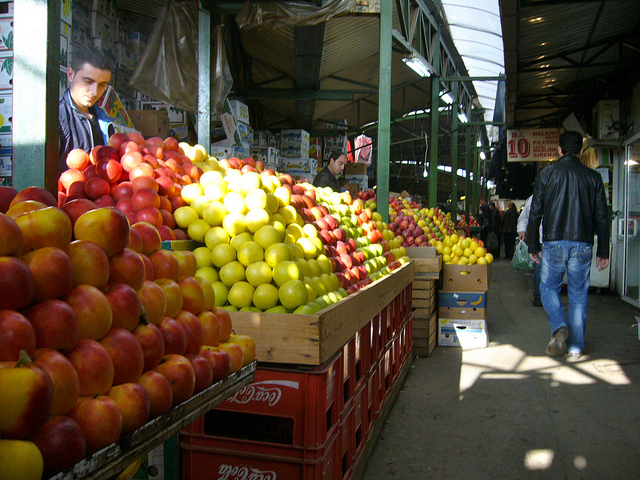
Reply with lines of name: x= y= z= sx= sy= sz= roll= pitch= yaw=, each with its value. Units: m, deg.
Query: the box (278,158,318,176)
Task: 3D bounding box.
box: x=-0.379 y=-1.313 z=10.050 sx=0.404 sy=0.318 sz=0.641 roll=1 pitch=6 yaw=9

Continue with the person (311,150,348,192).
person: x=0.112 y=-0.752 z=7.067 sx=0.334 sy=0.677 sz=0.743 roll=4 pitch=-11 yaw=6

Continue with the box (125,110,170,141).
box: x=-2.003 y=-1.356 z=6.541 sx=0.417 sy=0.266 sz=0.343 roll=15 pitch=4 yaw=-5

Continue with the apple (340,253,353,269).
apple: x=0.195 y=0.160 z=4.184 sx=0.065 sy=0.087 sz=0.099 roll=8 pitch=-12 yaw=17

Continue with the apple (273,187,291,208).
apple: x=-0.267 y=-0.298 z=3.946 sx=0.104 sy=0.133 sz=0.064 roll=-13 pitch=2 yaw=30

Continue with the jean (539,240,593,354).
jean: x=2.515 y=0.586 z=5.808 sx=0.482 sy=1.178 sz=0.334 roll=0 pitch=3 yaw=19

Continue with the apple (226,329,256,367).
apple: x=-0.350 y=0.485 z=2.638 sx=0.105 sy=0.154 sz=0.114 roll=-16 pitch=4 yaw=12

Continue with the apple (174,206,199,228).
apple: x=-0.812 y=-0.139 z=3.455 sx=0.124 sy=0.139 sz=0.120 roll=-1 pitch=1 yaw=32

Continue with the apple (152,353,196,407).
apple: x=-0.543 y=0.541 z=2.248 sx=0.163 sy=0.173 sz=0.157 roll=-25 pitch=22 yaw=-27

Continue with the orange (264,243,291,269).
orange: x=-0.248 y=0.084 z=3.252 sx=0.119 sy=0.139 sz=0.147 roll=28 pitch=30 yaw=24

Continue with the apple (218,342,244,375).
apple: x=-0.399 y=0.523 z=2.493 sx=0.091 sy=0.114 sz=0.102 roll=-2 pitch=12 yaw=-9

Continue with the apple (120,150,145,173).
apple: x=-1.137 y=-0.465 z=3.473 sx=0.137 sy=0.128 sz=0.116 roll=-39 pitch=24 yaw=-27

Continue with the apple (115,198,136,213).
apple: x=-1.109 y=-0.197 z=3.233 sx=0.072 sy=0.092 sz=0.100 roll=-11 pitch=-25 yaw=-2

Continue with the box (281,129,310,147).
box: x=-0.459 y=-1.782 z=9.965 sx=0.297 sy=0.167 sz=0.340 roll=0 pitch=1 yaw=7

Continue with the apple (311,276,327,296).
apple: x=-0.001 y=0.283 z=3.485 sx=0.086 sy=0.130 sz=0.095 roll=-13 pitch=-8 yaw=-13

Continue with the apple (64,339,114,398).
apple: x=-0.790 y=0.464 z=1.977 sx=0.121 sy=0.175 sz=0.132 roll=-10 pitch=10 yaw=43

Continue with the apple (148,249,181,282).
apple: x=-0.692 y=0.116 z=2.519 sx=0.132 sy=0.144 sz=0.121 roll=-4 pitch=4 yaw=-27

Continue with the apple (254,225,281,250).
apple: x=-0.308 y=-0.014 z=3.327 sx=0.115 sy=0.152 sz=0.133 roll=-18 pitch=-27 yaw=33

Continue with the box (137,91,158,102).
box: x=-2.224 y=-1.794 z=7.174 sx=0.129 sy=0.103 sz=0.147 roll=-2 pitch=10 yaw=-7

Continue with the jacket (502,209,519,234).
jacket: x=5.344 y=-0.514 z=15.942 sx=0.370 sy=0.848 sz=0.559 roll=0 pitch=9 yaw=0

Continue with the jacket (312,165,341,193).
jacket: x=0.060 y=-0.711 z=6.870 sx=0.261 sy=0.479 sz=0.545 roll=0 pitch=0 yaw=22

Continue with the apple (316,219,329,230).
apple: x=0.022 y=-0.114 z=4.236 sx=0.113 sy=0.077 sz=0.100 roll=-3 pitch=4 yaw=-16

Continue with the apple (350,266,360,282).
apple: x=0.270 y=0.253 z=4.178 sx=0.072 sy=0.114 sz=0.081 roll=-4 pitch=2 yaw=4

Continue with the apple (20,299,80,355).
apple: x=-0.884 y=0.291 z=1.935 sx=0.163 sy=0.176 sz=0.172 roll=-40 pitch=-28 yaw=1

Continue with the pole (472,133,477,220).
pole: x=6.401 y=-2.711 z=23.528 sx=0.150 sy=3.597 sz=0.152 roll=-17 pitch=21 yaw=-37

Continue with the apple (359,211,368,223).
apple: x=0.411 y=-0.217 z=5.386 sx=0.041 sy=0.095 sz=0.075 roll=-10 pitch=-14 yaw=-7

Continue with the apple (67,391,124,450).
apple: x=-0.734 y=0.600 z=1.882 sx=0.115 sy=0.158 sz=0.186 roll=3 pitch=10 yaw=6

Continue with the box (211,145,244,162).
box: x=-1.187 y=-1.138 z=7.288 sx=0.421 sy=0.194 sz=0.481 roll=-3 pitch=5 yaw=-11

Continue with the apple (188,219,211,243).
apple: x=-0.733 y=-0.051 z=3.433 sx=0.128 sy=0.137 sz=0.068 roll=-1 pitch=3 yaw=14

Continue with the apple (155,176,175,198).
apple: x=-0.953 y=-0.327 z=3.508 sx=0.053 sy=0.132 sz=0.156 roll=0 pitch=4 yaw=26

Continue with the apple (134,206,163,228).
apple: x=-0.958 y=-0.141 z=3.155 sx=0.126 sy=0.127 sz=0.134 roll=6 pitch=37 yaw=-12

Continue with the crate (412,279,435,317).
crate: x=1.164 y=0.593 z=6.295 sx=0.259 sy=0.441 sz=0.553 roll=-1 pitch=-1 yaw=14

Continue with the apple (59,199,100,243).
apple: x=-1.006 y=-0.104 z=2.380 sx=0.184 sy=0.195 sz=0.175 roll=4 pitch=-26 yaw=-28

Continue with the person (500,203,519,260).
person: x=5.693 y=-0.221 z=17.079 sx=0.417 sy=1.788 sz=1.623 roll=0 pitch=4 yaw=17

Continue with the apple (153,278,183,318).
apple: x=-0.617 y=0.241 z=2.368 sx=0.117 sy=0.144 sz=0.131 roll=-14 pitch=3 yaw=16

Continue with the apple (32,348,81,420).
apple: x=-0.835 y=0.454 z=1.844 sx=0.104 sy=0.202 sz=0.158 roll=0 pitch=11 yaw=-13

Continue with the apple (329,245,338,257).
apple: x=0.100 y=0.083 z=4.154 sx=0.049 sy=0.079 sz=0.183 roll=-1 pitch=4 yaw=5

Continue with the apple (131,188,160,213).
apple: x=-1.000 y=-0.233 z=3.225 sx=0.111 sy=0.143 sz=0.152 roll=6 pitch=16 yaw=21

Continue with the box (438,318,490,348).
box: x=1.636 y=1.070 z=6.509 sx=0.557 sy=0.316 sz=0.119 roll=-1 pitch=3 yaw=17

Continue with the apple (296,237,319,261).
apple: x=-0.092 y=0.061 z=3.729 sx=0.131 sy=0.135 sz=0.196 roll=-1 pitch=4 yaw=7
